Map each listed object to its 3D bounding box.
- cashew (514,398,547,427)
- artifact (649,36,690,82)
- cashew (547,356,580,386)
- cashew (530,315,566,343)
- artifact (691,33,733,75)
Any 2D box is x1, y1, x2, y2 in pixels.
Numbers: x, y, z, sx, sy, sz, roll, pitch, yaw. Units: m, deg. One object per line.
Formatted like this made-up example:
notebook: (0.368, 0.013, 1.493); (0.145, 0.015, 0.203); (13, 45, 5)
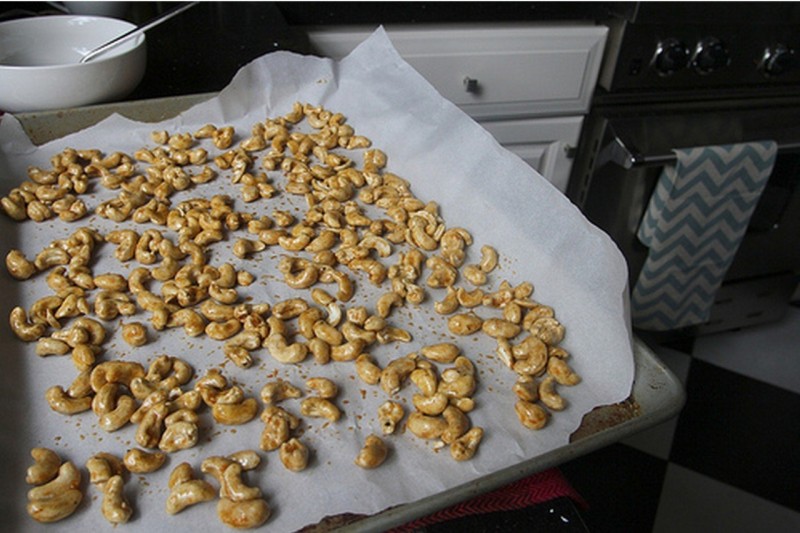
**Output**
cashew: (0.208, 0.228, 1.020); (0.044, 0.033, 0.022); (33, 18, 16)
artifact: (0.707, -0.531, 1.644); (0.085, 0.086, 0.024); (-9, 29, 3)
cashew: (0.273, 0.170, 1.068); (0.032, 0.019, 0.053); (-30, 52, -15)
cashew: (0.259, 0.106, 1.114); (0.045, 0.019, 0.047); (-16, 47, -23)
artifact: (0.820, -0.546, 1.665); (0.085, 0.085, 0.027); (-12, 28, -3)
